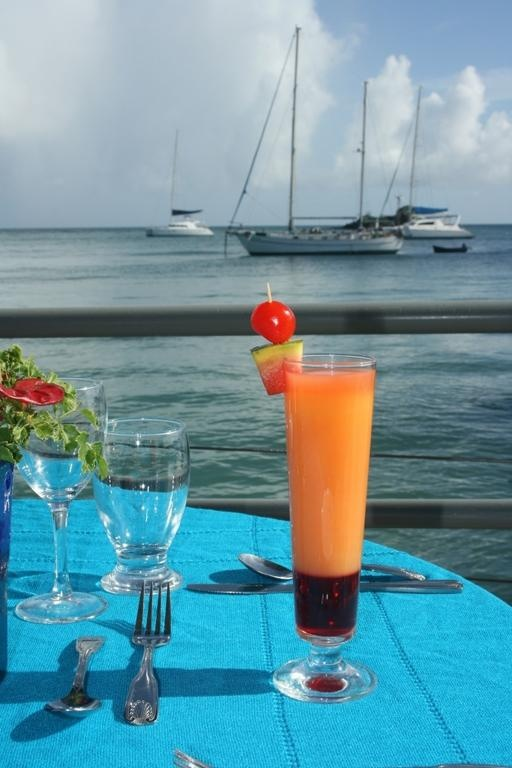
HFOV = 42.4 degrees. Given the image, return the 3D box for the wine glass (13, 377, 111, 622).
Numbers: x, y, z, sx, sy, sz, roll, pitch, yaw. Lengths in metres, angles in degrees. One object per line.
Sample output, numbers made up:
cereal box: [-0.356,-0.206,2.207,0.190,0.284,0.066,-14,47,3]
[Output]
wine glass: [-0.127,0.086,0.515,0.089,0.161,0.089,-1,10,-8]

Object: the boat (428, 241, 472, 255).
boat: [9.556,-6.676,32.670,1.452,0.599,3.021,8,10,28]

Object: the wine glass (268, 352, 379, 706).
wine glass: [0.044,0.082,0.382,0.060,0.186,0.072,3,9,2]

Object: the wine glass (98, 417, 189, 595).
wine glass: [-0.083,0.093,0.560,0.088,0.133,0.080,0,10,-6]
